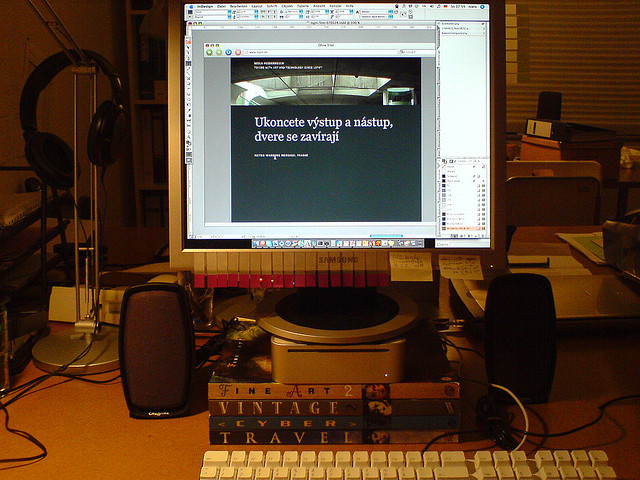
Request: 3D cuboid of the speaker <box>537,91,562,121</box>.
[{"bbox_3d":[1.521,-0.896,3.888,0.142,0.190,0.192,0,11,20],"label":"speaker"}]
